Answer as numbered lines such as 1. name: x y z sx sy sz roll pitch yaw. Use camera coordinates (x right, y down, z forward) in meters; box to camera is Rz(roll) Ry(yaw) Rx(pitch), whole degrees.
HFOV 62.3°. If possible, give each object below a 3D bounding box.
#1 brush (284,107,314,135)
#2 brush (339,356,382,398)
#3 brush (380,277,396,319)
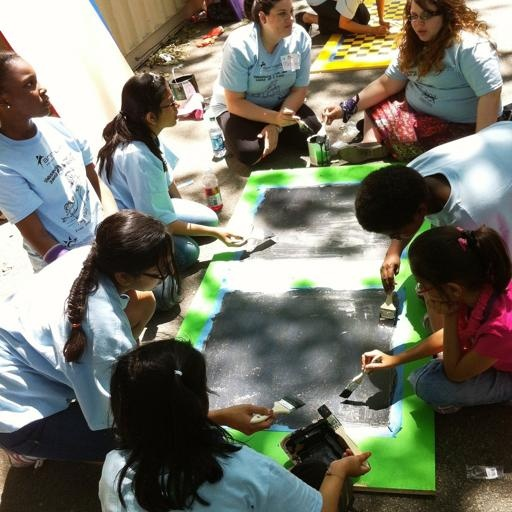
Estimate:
1. brush: 0.360 -1.242 3.807 0.241 0.254 0.359 -8 44 7
2. brush: 0.493 0.581 2.006 0.268 0.083 0.279 6 33 13
3. brush: 0.711 0.229 2.278 0.016 0.217 0.093 9 -3 -39
